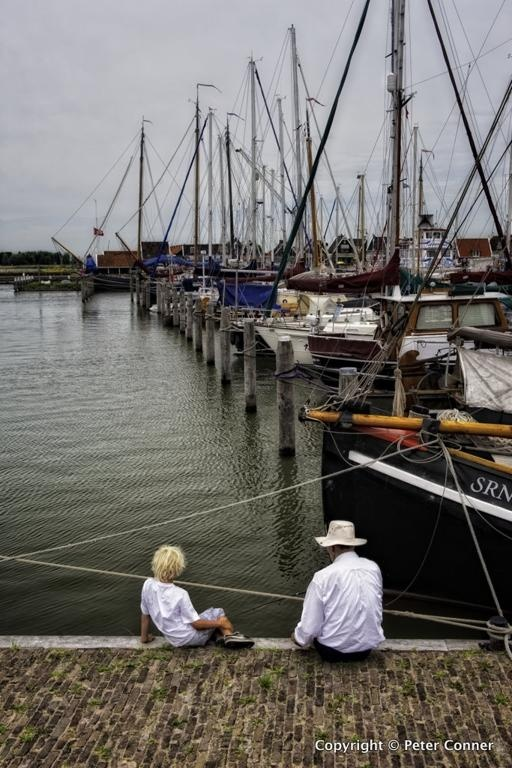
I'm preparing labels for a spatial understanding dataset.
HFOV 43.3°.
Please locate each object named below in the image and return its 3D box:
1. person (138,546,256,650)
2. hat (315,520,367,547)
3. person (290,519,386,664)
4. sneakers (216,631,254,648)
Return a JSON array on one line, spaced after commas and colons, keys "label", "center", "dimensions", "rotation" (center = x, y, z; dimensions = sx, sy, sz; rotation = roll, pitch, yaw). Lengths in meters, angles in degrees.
[{"label": "person", "center": [-0.460, 1.437, 4.465], "dimensions": [0.868, 0.761, 0.500], "rotation": [-3, 2, 19]}, {"label": "hat", "center": [0.576, 0.973, 4.270], "dimensions": [0.282, 0.125, 0.311], "rotation": [-2, -4, 19]}, {"label": "person", "center": [0.515, 1.342, 4.061], "dimensions": [0.559, 0.873, 0.438], "rotation": [-1, 4, 4]}, {"label": "sneakers", "center": [-0.136, 1.737, 4.418], "dimensions": [0.252, 0.098, 0.124], "rotation": [2, 51, 2]}]
